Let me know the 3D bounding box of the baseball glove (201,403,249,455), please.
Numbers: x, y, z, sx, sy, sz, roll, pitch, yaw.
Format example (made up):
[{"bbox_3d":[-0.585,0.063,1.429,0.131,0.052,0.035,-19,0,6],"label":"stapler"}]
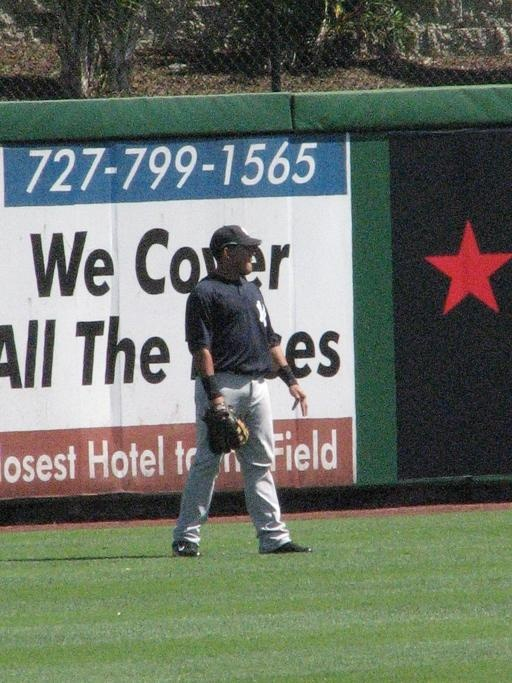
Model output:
[{"bbox_3d":[-0.189,0.535,13.330,0.219,0.281,0.188,-1,18,22],"label":"baseball glove"}]

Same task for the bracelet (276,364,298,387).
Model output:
[{"bbox_3d":[0.201,0.258,13.619,0.083,0.161,0.062,-31,-25,13],"label":"bracelet"}]

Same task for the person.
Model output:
[{"bbox_3d":[-0.094,0.349,13.496,0.730,2.322,0.667,-3,21,-8],"label":"person"}]

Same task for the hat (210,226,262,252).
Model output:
[{"bbox_3d":[-0.141,-0.631,13.489,0.212,0.160,0.174,-2,7,0],"label":"hat"}]
